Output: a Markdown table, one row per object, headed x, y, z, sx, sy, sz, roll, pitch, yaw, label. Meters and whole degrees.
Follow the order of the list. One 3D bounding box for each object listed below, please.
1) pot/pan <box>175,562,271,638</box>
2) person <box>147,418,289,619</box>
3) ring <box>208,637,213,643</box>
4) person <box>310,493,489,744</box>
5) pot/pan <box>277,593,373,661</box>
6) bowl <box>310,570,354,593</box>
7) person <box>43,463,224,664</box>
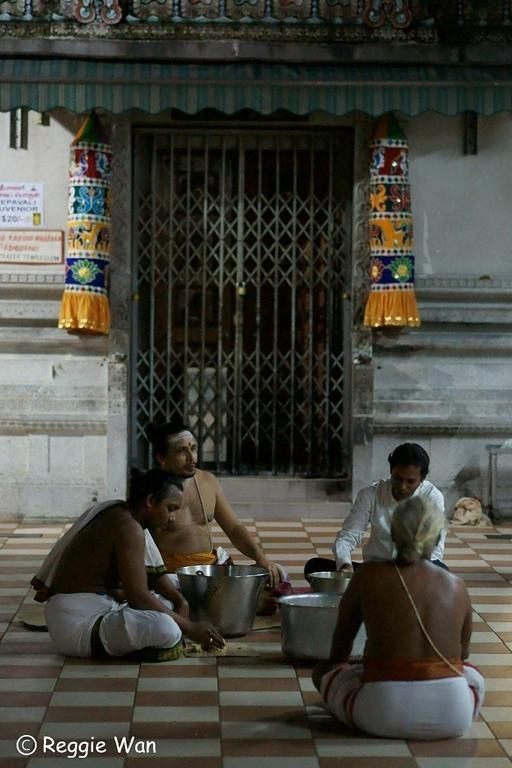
| x | y | z | sx | sy | sz | roll | pitch | yaw | label |
| --- | --- | --- | --- | --- | --- | --- | --- | --- | --- |
| -0.147 | 0.929 | 4.272 | 0.365 | 0.214 | 0.341 | -1 | -6 | 1 | pot/pan |
| -0.292 | 0.653 | 4.530 | 0.585 | 0.853 | 0.768 | 1 | 6 | 35 | person |
| -0.175 | 1.003 | 3.810 | 0.012 | 0.033 | 0.013 | 1 | 1 | -1 | ring |
| 0.436 | 0.742 | 3.102 | 0.497 | 0.792 | 0.298 | 1 | 1 | 13 | person |
| 0.257 | 0.965 | 3.829 | 0.369 | 0.204 | 0.332 | 1 | -3 | -2 | pot/pan |
| 0.318 | 0.849 | 4.181 | 0.228 | 0.092 | 0.211 | 0 | -6 | 0 | bowl |
| -0.518 | 0.710 | 4.141 | 0.814 | 0.708 | 0.785 | 3 | 0 | -9 | person |
